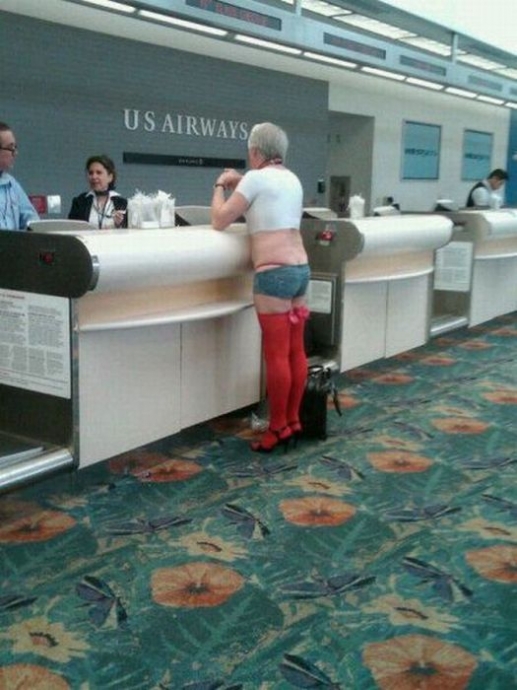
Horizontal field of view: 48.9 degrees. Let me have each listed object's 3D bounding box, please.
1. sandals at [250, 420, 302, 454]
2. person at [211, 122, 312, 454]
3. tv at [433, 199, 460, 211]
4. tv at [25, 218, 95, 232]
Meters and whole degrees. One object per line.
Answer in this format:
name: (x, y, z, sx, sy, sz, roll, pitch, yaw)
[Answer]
sandals: (0.091, 0.484, 2.935, 0.228, 0.093, 0.128, -6, 14, 45)
person: (0.010, -0.256, 2.858, 0.494, 1.617, 0.374, 3, 15, 9)
tv: (1.808, -1.315, 5.396, 0.244, 0.114, 0.212, -12, 19, -41)
tv: (-0.827, -0.496, 2.375, 0.252, 0.038, 0.147, -4, 14, -19)
